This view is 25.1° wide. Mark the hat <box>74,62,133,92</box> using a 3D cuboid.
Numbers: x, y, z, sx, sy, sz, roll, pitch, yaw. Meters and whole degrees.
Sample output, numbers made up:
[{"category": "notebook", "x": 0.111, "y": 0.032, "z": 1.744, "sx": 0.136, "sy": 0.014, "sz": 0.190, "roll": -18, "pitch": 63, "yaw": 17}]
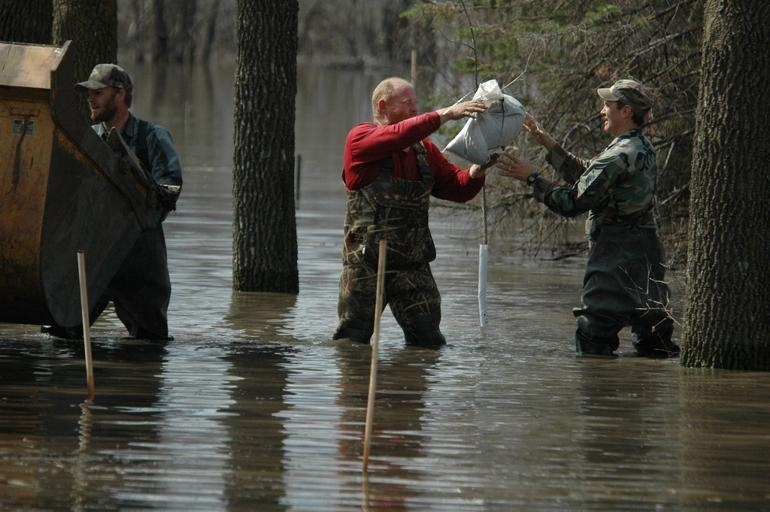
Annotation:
[{"category": "hat", "x": -2.637, "y": -1.652, "z": 16.246, "sx": 0.440, "sy": 0.214, "sz": 0.274, "roll": 7, "pitch": 6, "yaw": -12}]

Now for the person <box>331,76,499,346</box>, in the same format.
[{"category": "person", "x": 0.176, "y": -0.345, "z": 16.289, "sx": 1.312, "sy": 2.591, "sz": 0.973, "roll": 0, "pitch": 11, "yaw": -5}]

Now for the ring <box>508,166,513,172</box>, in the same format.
[{"category": "ring", "x": 1.171, "y": -0.809, "z": 16.281, "sx": 0.051, "sy": 0.048, "sz": 0.018, "roll": -1, "pitch": 11, "yaw": -9}]

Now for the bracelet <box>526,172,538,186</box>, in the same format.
[{"category": "bracelet", "x": 1.367, "y": -0.732, "z": 16.388, "sx": 0.082, "sy": 0.123, "sz": 0.116, "roll": 39, "pitch": 1, "yaw": 21}]

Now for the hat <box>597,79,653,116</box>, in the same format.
[{"category": "hat", "x": 2.263, "y": -1.476, "z": 16.357, "sx": 0.539, "sy": 0.245, "sz": 0.374, "roll": 23, "pitch": -5, "yaw": 0}]

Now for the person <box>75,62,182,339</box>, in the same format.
[{"category": "person", "x": -2.400, "y": -0.484, "z": 16.434, "sx": 0.879, "sy": 2.614, "sz": 0.498, "roll": 0, "pitch": 11, "yaw": -6}]
